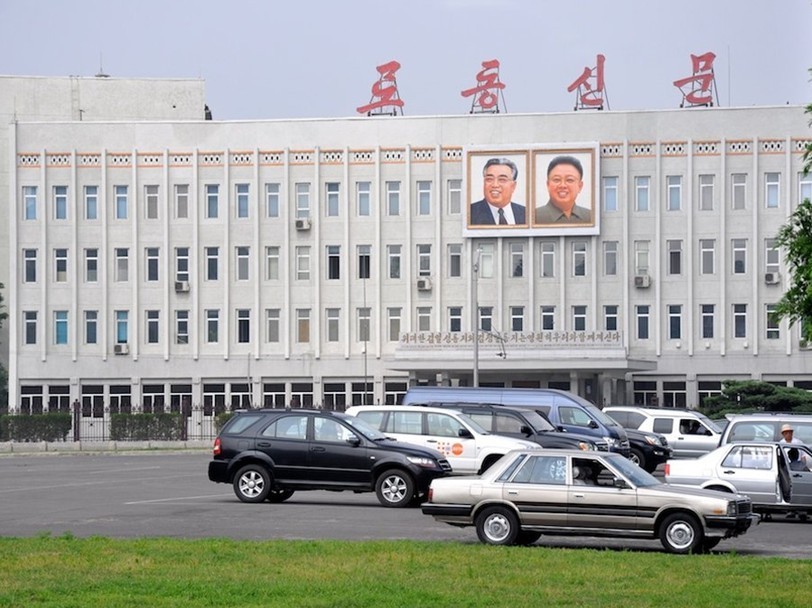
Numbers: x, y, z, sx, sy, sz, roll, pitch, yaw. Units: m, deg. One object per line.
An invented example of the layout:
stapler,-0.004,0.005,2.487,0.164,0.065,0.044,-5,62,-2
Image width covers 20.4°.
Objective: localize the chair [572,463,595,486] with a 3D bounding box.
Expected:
chair,6.426,6.305,82.140,0.524,0.840,0.250,2,27,8
